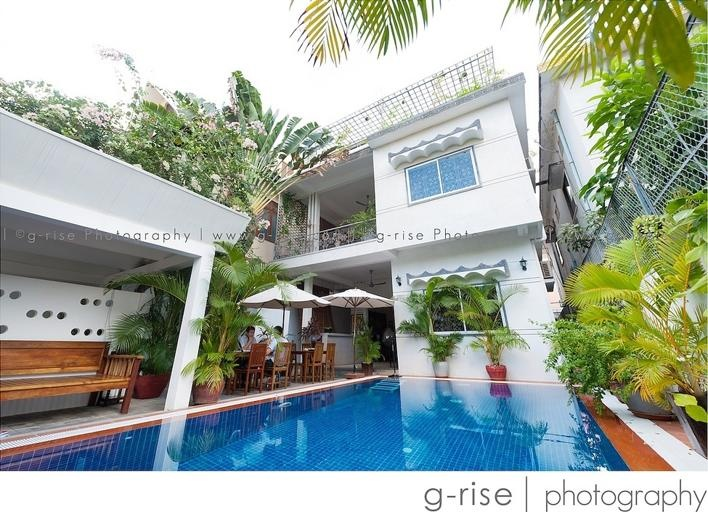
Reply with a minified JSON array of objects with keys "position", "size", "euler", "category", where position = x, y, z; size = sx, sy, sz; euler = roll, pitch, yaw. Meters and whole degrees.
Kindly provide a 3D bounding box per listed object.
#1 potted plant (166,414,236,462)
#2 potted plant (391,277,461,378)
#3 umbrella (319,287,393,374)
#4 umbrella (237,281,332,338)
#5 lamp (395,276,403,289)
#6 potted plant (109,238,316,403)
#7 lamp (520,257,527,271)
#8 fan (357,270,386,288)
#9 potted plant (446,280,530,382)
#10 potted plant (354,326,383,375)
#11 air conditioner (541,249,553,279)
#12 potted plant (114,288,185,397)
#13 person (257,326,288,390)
[{"position":[-1.759,2.104,3.886],"size":[0.508,0.334,0.121],"euler":[-1,-15,-38],"category":"potted plant"},{"position":[2.018,2.014,9.088],"size":[1.952,2.585,1.739],"euler":[0,-11,-22],"category":"potted plant"},{"position":[0.021,2.065,9.601],"size":[1.919,2.179,2.028],"euler":[-2,-18,14],"category":"umbrella"},{"position":[-1.657,1.242,8.070],"size":[1.263,0.921,1.290],"euler":[0,-13,-2],"category":"umbrella"},{"position":[1.301,0.770,9.943],"size":[0.142,0.435,0.149],"euler":[-27,-48,35],"category":"lamp"},{"position":[-2.510,1.002,6.110],"size":[2.200,2.697,1.658],"euler":[8,-19,-32],"category":"potted plant"},{"position":[4.155,0.181,8.405],"size":[0.172,0.343,0.043],"euler":[-12,-18,30],"category":"lamp"},{"position":[0.707,1.056,14.597],"size":[0.999,0.535,0.949],"euler":[-1,2,38],"category":"fan"},{"position":[3.224,1.901,8.197],"size":[2.084,2.135,1.533],"euler":[-12,-15,21],"category":"potted plant"},{"position":[0.552,2.963,10.391],"size":[0.812,1.268,0.794],"euler":[15,-11,-32],"category":"potted plant"},{"position":[9.406,0.381,16.659],"size":[0.481,0.411,1.582],"euler":[0,-44,21],"category":"air conditioner"},{"position":[-3.521,1.526,5.845],"size":[1.577,1.655,1.092],"euler":[7,-20,-24],"category":"potted plant"},{"position":[-1.659,2.326,7.338],"size":[0.483,0.731,0.512],"euler":[-18,-16,3],"category":"person"}]
